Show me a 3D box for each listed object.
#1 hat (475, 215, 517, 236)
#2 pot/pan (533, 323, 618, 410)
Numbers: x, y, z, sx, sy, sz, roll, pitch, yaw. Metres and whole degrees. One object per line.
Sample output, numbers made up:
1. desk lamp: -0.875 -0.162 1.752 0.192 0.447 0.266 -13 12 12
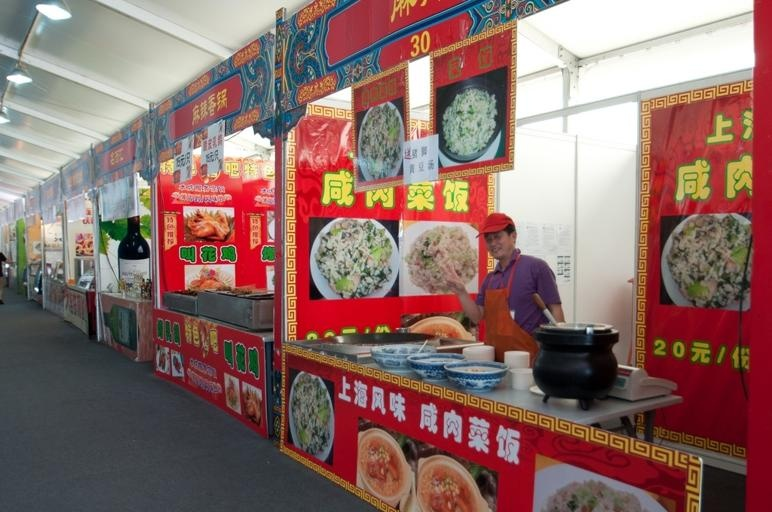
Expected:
1. hat: 0.836 -0.244 4.122 0.235 0.159 0.156 0 5 12
2. pot/pan: 1.074 0.586 3.244 0.434 0.458 0.455 0 1 -6
